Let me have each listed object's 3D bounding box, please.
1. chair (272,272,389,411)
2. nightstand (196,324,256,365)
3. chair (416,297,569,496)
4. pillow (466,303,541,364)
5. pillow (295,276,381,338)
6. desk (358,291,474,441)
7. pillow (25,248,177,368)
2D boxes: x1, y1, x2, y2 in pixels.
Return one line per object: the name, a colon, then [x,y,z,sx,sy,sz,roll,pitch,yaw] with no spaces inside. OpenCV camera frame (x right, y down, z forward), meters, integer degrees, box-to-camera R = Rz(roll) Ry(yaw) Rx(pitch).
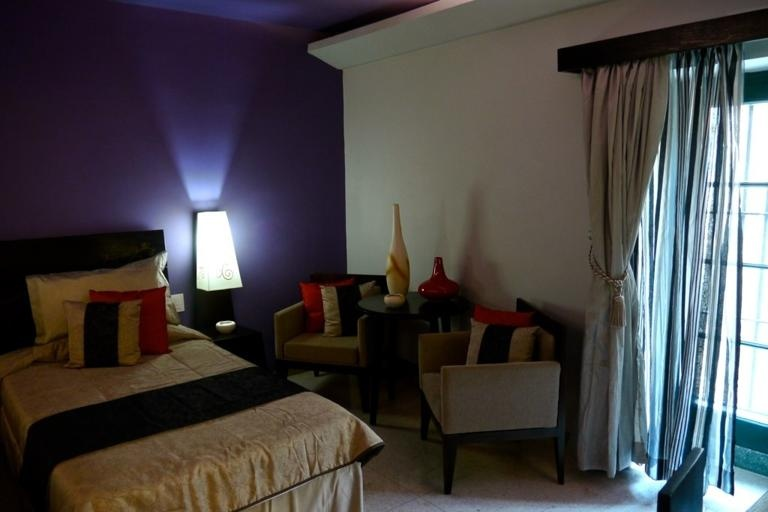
chair: [-0.441,0.708,5.182,1.000,1.458,0.988,0,1,11]
nightstand: [-1.276,0.717,4.850,0.345,0.336,0.344,-11,18,-37]
chair: [0.732,0.834,4.401,1.024,1.357,1.344,0,5,-6]
pillow: [0.824,0.576,4.000,0.375,0.420,0.122,-3,-30,27]
pillow: [-0.481,0.438,5.108,0.540,0.565,0.182,0,-5,-23]
desk: [0.314,0.880,4.918,0.967,1.071,0.957,1,4,15]
pillow: [-2.111,0.404,4.163,0.709,0.700,0.208,-9,-6,-40]
